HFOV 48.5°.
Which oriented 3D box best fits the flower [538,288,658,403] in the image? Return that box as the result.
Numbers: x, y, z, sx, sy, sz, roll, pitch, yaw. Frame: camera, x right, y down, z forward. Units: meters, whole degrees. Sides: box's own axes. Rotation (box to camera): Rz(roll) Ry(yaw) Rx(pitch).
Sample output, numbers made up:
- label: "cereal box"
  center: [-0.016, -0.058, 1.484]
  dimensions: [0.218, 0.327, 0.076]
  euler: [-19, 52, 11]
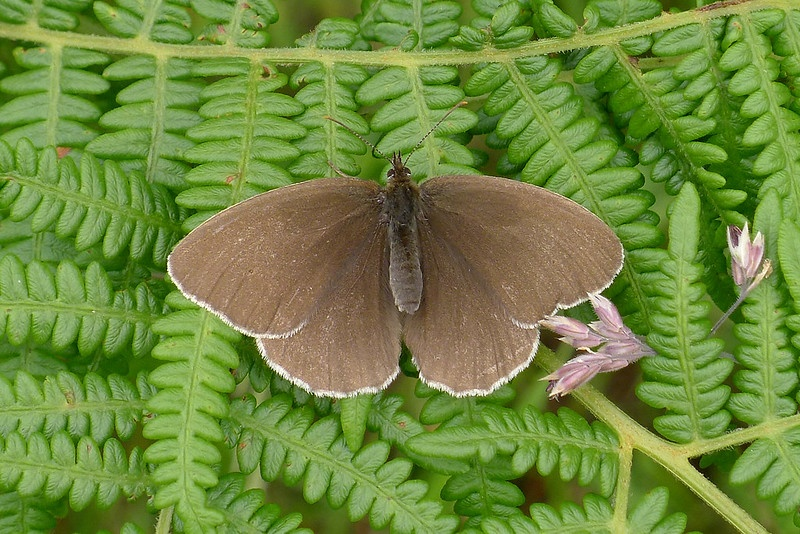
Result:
- label: "flower"
  center: [1.141, 0.448, 5.033]
  dimensions: [0.469, 0.195, 0.254]
  euler: [33, 35, 14]

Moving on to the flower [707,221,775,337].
- label: "flower"
  center: [1.924, 0.034, 4.980]
  dimensions: [0.235, 0.671, 0.146]
  euler: [-35, 61, -10]
